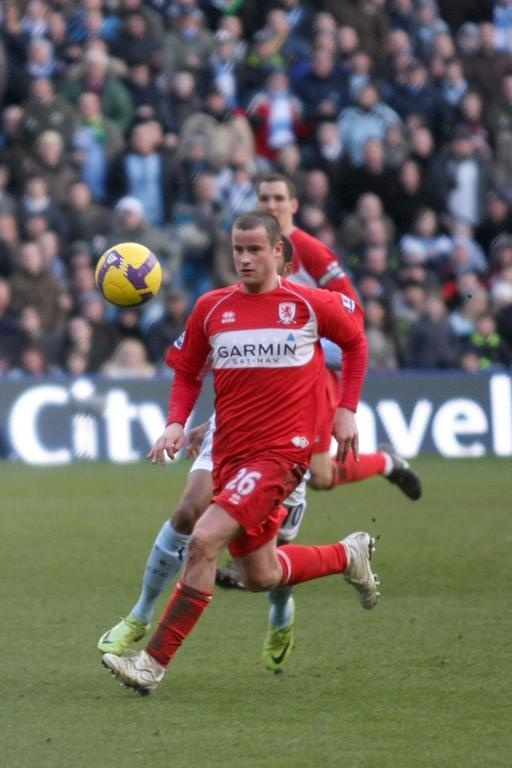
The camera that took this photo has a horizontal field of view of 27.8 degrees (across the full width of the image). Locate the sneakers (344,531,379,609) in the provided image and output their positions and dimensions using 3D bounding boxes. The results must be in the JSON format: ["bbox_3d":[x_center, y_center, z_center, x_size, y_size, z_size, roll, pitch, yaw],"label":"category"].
[{"bbox_3d":[0.401,0.686,3.723,0.106,0.305,0.129,3,54,21],"label":"sneakers"}]

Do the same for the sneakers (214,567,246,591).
[{"bbox_3d":[-0.121,0.853,4.657,0.131,0.076,0.056,47,27,21],"label":"sneakers"}]

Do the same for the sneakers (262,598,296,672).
[{"bbox_3d":[0.068,0.824,3.413,0.081,0.099,0.208,10,87,22],"label":"sneakers"}]

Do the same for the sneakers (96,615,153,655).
[{"bbox_3d":[-0.455,0.848,3.534,0.082,0.111,0.233,50,28,10],"label":"sneakers"}]

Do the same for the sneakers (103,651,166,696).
[{"bbox_3d":[-0.366,0.849,3.071,0.154,0.152,0.101,23,50,21],"label":"sneakers"}]
